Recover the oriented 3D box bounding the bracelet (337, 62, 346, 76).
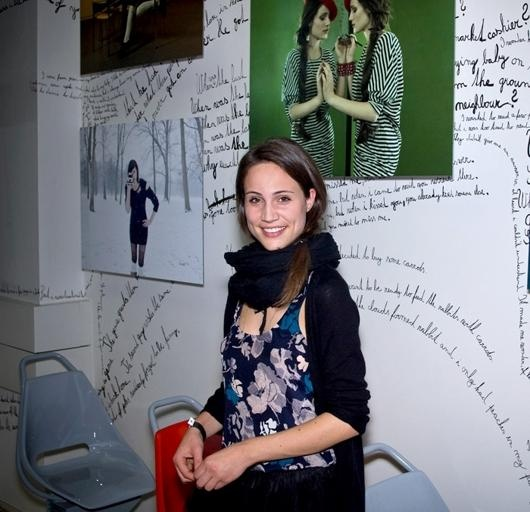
[{"bbox_3d":[0.273,-0.664,1.690,0.031,0.047,0.037,0,2,-1],"label":"bracelet"}]

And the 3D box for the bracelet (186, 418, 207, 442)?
[{"bbox_3d":[-0.186,0.474,1.332,0.022,0.062,0.061,-30,-17,-18],"label":"bracelet"}]
